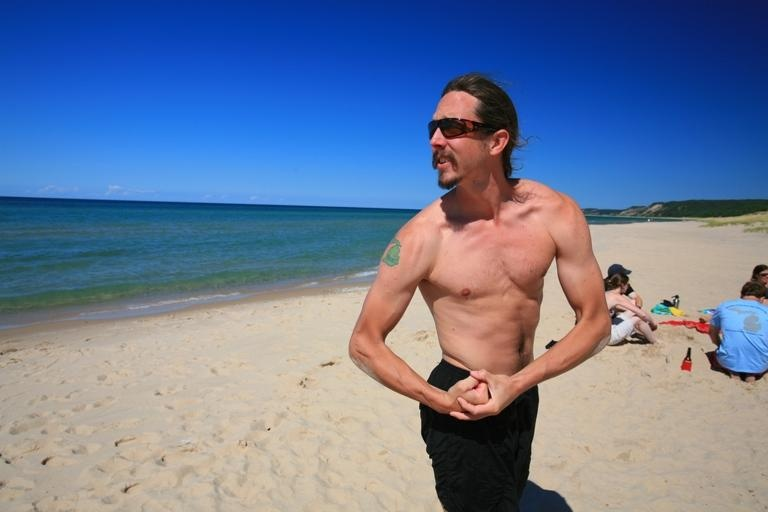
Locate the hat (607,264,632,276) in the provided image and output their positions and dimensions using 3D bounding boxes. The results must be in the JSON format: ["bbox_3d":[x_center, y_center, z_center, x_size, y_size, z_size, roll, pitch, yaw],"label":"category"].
[{"bbox_3d":[5.490,0.307,11.325,0.720,0.251,0.423,-1,1,8],"label":"hat"}]

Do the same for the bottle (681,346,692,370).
[{"bbox_3d":[4.946,1.666,7.951,0.154,0.358,0.243,4,12,30],"label":"bottle"}]

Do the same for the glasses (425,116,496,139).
[{"bbox_3d":[0.683,-1.125,4.299,0.599,0.185,0.159,0,10,8],"label":"glasses"}]

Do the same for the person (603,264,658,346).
[{"bbox_3d":[4.550,0.976,8.977,0.850,1.195,1.090,1,11,19],"label":"person"}]
